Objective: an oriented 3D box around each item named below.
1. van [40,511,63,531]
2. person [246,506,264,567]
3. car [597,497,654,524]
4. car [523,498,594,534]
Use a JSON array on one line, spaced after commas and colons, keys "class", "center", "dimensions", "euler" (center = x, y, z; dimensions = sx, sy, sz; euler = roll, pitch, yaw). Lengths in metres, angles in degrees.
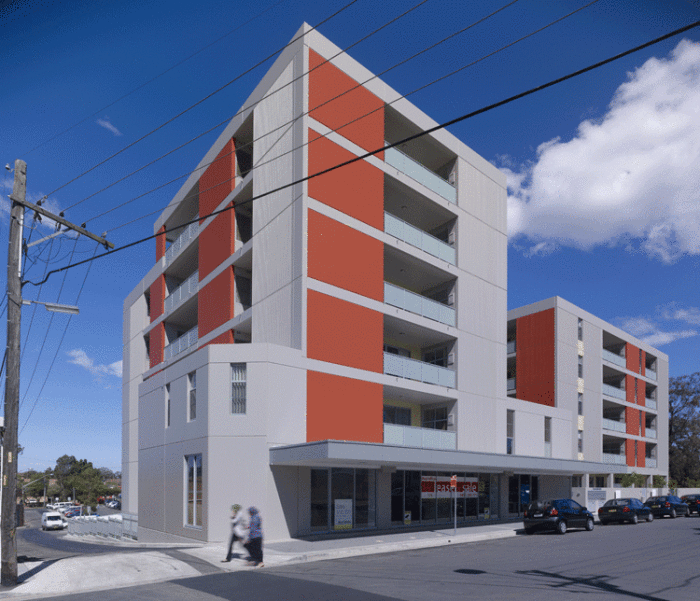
[{"class": "van", "center": [-26.766, 19.884, 71.820], "dimensions": [1.505, 1.554, 2.889], "euler": [5, -20, -24]}, {"class": "person", "center": [-2.763, 6.864, 23.130], "dimensions": [0.533, 1.676, 0.680], "euler": [3, 0, -7]}, {"class": "car", "center": [14.371, 10.934, 41.367], "dimensions": [1.354, 0.950, 2.931], "euler": [-9, -13, 34]}, {"class": "car", "center": [8.806, 9.128, 33.621], "dimensions": [3.468, 1.458, 0.966], "euler": [5, -1, -36]}]
